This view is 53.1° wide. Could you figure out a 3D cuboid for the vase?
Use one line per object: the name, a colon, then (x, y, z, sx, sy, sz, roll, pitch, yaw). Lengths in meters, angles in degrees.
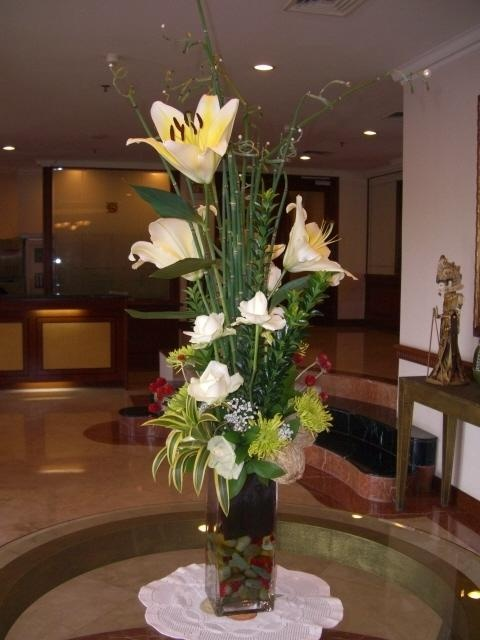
vase: (0.002, 0.328, 0.722, 0.089, 0.198, 0.069, 2, -1, -10)
